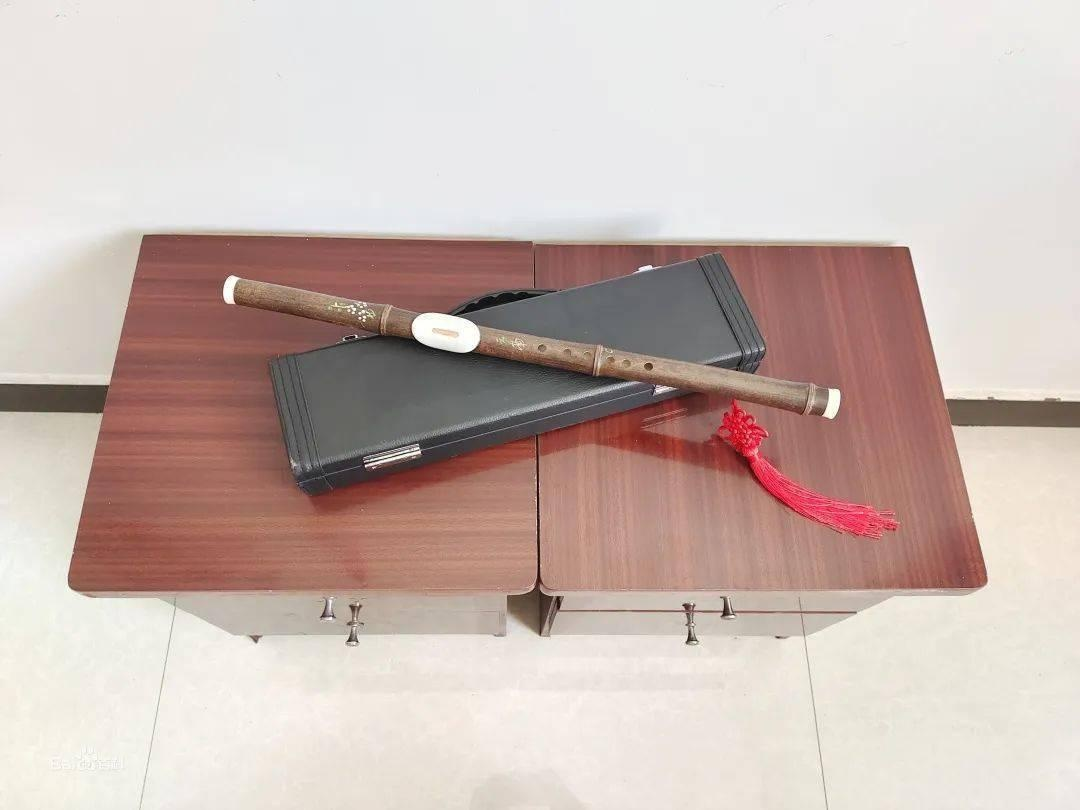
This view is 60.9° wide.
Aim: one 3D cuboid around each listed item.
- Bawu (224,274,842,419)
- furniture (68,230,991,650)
[{"bbox_3d":[-0.027,-0.087,1.477,1.089,0.093,0.089,8,74,2],"label":"Bawu"},{"bbox_3d":[-0.018,0.063,2.081,1.801,0.678,0.997,-1,-5,0],"label":"furniture"}]
